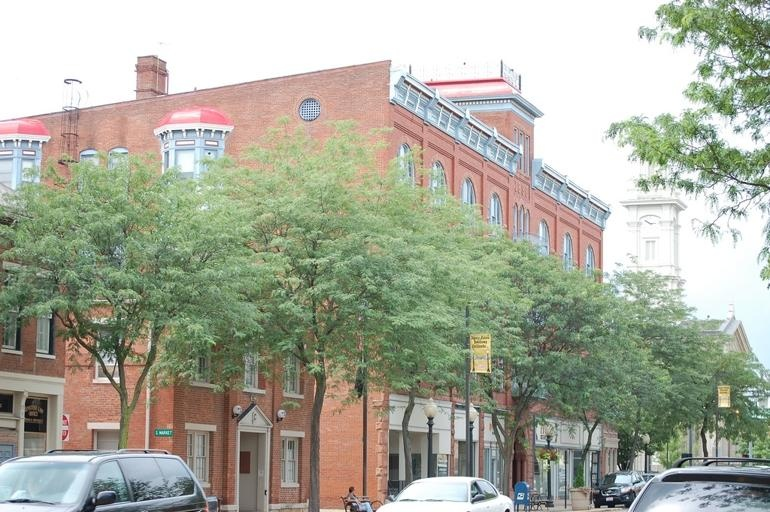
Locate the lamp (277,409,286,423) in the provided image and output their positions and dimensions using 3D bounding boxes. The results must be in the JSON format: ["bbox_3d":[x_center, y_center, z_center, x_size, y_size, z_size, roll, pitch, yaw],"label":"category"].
[{"bbox_3d":[-4.467,6.964,64.301,0.330,0.526,0.375,3,-1,4],"label":"lamp"}]

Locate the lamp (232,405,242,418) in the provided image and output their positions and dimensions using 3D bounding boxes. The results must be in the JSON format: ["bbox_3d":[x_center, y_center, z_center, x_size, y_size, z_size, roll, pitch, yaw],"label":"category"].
[{"bbox_3d":[-6.075,6.474,61.616,0.224,0.535,0.553,-11,-19,38],"label":"lamp"}]
